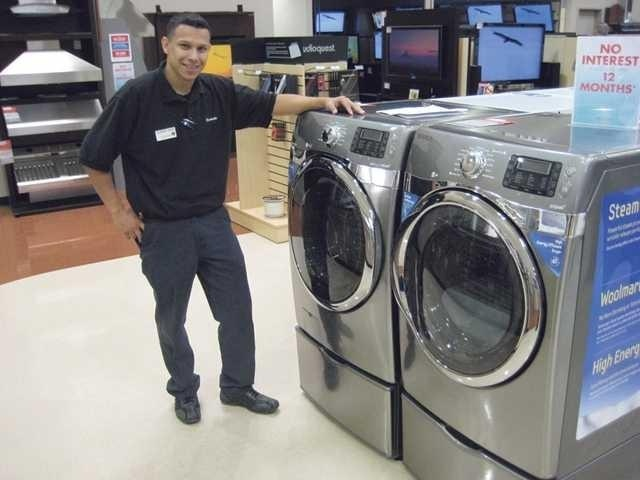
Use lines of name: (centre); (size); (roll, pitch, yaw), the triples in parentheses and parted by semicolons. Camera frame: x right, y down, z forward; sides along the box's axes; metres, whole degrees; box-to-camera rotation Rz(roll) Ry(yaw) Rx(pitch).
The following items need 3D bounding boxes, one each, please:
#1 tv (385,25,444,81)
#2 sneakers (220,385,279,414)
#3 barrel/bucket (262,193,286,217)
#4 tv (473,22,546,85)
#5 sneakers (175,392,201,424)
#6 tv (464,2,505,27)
tv: (0.980, -1.923, 4.653); (0.065, 0.462, 0.633); (-16, 25, -34)
sneakers: (-0.372, 0.854, 2.508); (0.343, 0.149, 0.123); (7, 17, 16)
barrel/bucket: (-0.467, -0.359, 4.586); (0.224, 0.184, 0.191); (11, 20, 34)
tv: (1.961, -1.916, 4.712); (0.865, 0.578, 0.027); (-8, 14, -21)
sneakers: (-0.711, 0.886, 2.446); (0.123, 0.108, 0.281); (1, 5, -23)
tv: (3.006, -4.170, 8.410); (0.956, 0.339, 0.306); (-17, 28, -35)
